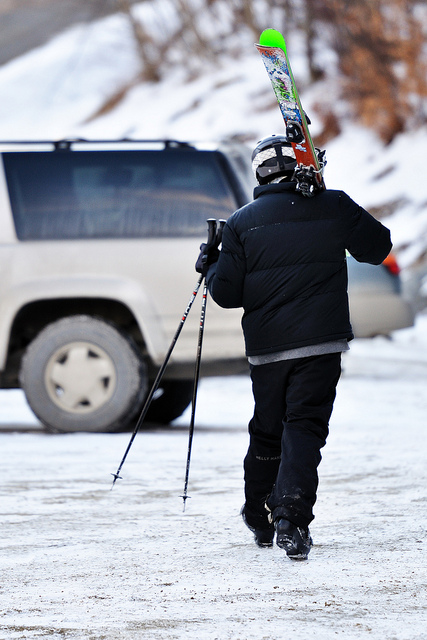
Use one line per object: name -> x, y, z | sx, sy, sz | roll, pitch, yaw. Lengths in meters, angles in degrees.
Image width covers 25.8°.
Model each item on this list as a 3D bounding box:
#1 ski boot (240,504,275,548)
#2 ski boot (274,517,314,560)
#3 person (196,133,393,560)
ski boot -> 0.206, 0.919, 4.024 | 0.122, 0.117, 0.072 | -2, -7, -8
ski boot -> 0.304, 0.865, 3.670 | 0.148, 0.181, 0.135 | 1, 10, 13
person -> 0.376, 0.203, 3.891 | 0.672, 1.566, 0.785 | -2, 10, -8
